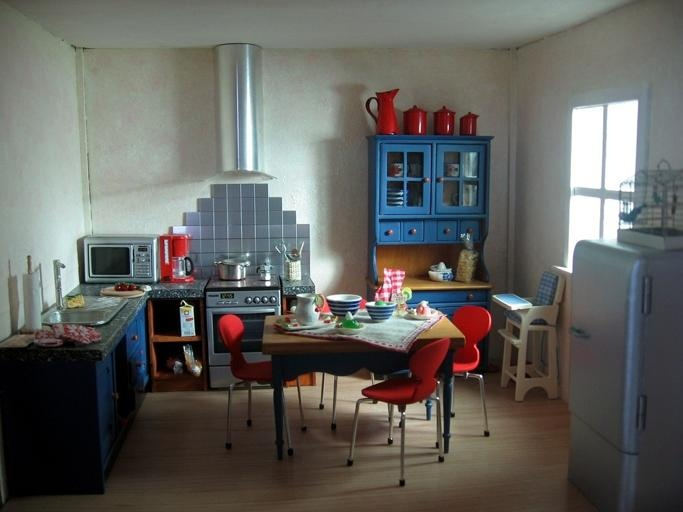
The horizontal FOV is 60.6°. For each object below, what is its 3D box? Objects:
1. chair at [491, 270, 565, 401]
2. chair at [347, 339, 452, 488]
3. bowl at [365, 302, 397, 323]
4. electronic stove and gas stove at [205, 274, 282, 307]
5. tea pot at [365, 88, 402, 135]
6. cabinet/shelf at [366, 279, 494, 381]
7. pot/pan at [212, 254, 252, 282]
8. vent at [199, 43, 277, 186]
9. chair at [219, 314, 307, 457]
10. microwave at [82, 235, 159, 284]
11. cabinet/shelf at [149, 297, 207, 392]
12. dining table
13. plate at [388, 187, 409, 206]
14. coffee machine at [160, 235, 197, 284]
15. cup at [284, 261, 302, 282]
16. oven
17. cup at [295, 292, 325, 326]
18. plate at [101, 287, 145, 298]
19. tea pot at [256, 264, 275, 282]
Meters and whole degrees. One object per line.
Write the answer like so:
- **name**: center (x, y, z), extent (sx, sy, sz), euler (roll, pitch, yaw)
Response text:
- **chair**: center (1.667, 0.660, 5.242), extent (0.566, 1.110, 0.638), euler (-1, 7, 5)
- **chair**: center (0.410, 1.006, 4.265), extent (0.725, 0.979, 0.869), euler (-1, 7, 6)
- **bowl**: center (0.298, 0.400, 4.303), extent (0.161, 0.100, 0.163), euler (-1, 4, 0)
- **electronic stove and gas stove**: center (-0.872, 0.339, 5.241), extent (0.660, 0.214, 0.289), euler (-2, 7, -6)
- **tea pot**: center (0.389, -1.354, 5.489), extent (0.330, 0.461, 0.373), euler (-1, 7, 4)
- **cabinet/shelf**: center (0.680, 0.573, 4.518), extent (0.920, 0.860, 0.388), euler (-1, 6, -3)
- **pot/pan**: center (-1.042, 0.108, 5.471), extent (0.262, 0.135, 0.260), euler (-5, 8, -38)
- **vent**: center (-0.928, -1.327, 5.298), extent (0.440, 1.140, 0.137), euler (-3, 7, -12)
- **chair**: center (-0.563, 0.923, 4.336), extent (0.640, 0.910, 0.558), euler (0, 4, 1)
- **microwave**: center (-1.964, 0.032, 5.211), extent (0.649, 0.445, 0.415), euler (0, 1, 0)
- **cabinet/shelf**: center (-1.532, 0.774, 5.377), extent (0.485, 0.868, 0.625), euler (-4, 7, -19)
- **dining table**: center (-0.031, 0.691, 4.425), extent (1.285, 0.800, 1.012), euler (-1, 6, -5)
- **plate**: center (0.522, -0.540, 5.353), extent (0.164, 0.120, 0.164), euler (0, 7, 1)
- **coffee machine**: center (-1.452, 0.002, 5.549), extent (0.418, 0.556, 0.324), euler (-1, 8, -6)
- **cup**: center (-0.447, 0.139, 5.431), extent (0.180, 0.174, 0.155), euler (1, 4, -1)
- **oven**: center (-0.888, 0.796, 5.436), extent (0.721, 0.778, 0.565), euler (-1, 7, -1)
- **cup**: center (-0.234, 0.391, 4.177), extent (0.226, 0.218, 0.171), euler (1, 0, -6)
- **plate**: center (-1.860, 0.309, 4.925), extent (0.411, 0.060, 0.226), euler (0, 6, 15)
- **tea pot**: center (-0.699, 0.154, 5.443), extent (0.180, 0.161, 0.120), euler (-6, 14, -30)
